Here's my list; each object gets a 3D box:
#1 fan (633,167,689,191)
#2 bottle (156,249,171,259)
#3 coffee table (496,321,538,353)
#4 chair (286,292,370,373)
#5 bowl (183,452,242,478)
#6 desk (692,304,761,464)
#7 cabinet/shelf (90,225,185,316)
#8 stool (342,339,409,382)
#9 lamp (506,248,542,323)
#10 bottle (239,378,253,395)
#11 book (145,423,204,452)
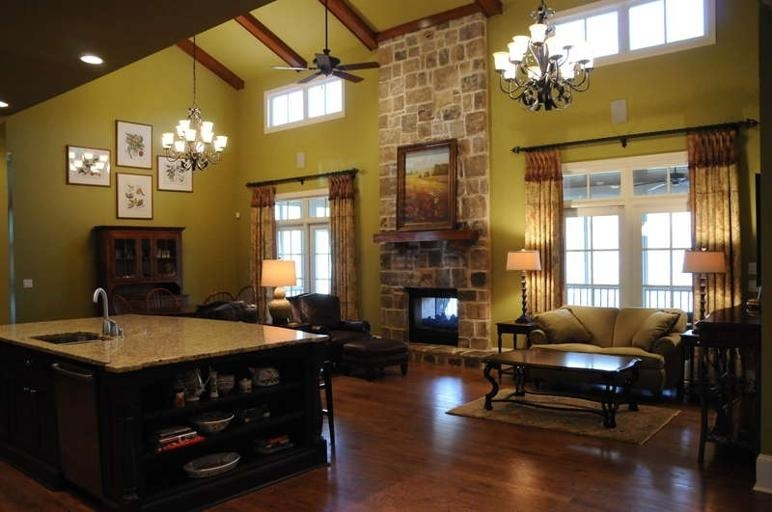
[{"bbox_3d":[4.015,-1.090,8.549,0.716,0.402,0.165,2,9,22],"label":"fan"},{"bbox_3d":[-4.161,-0.004,10.857,0.151,0.203,0.212,-2,-3,36],"label":"bottle"},{"bbox_3d":[1.986,1.207,8.924,0.566,0.517,0.565,-2,-6,24],"label":"coffee table"},{"bbox_3d":[-0.923,1.253,9.362,1.243,1.334,1.261,-1,0,24],"label":"chair"},{"bbox_3d":[-1.617,1.948,5.433,0.513,0.098,0.291,-4,8,-21],"label":"bowl"},{"bbox_3d":[3.418,1.326,5.821,0.627,1.300,1.605,2,1,34],"label":"desk"},{"bbox_3d":[-4.530,0.271,10.446,0.796,2.202,1.625,-4,-4,41],"label":"cabinet/shelf"},{"bbox_3d":[-0.186,1.479,8.830,0.633,0.428,0.822,-2,3,-39],"label":"stool"},{"bbox_3d":[2.134,0.445,9.025,0.501,1.076,0.732,1,9,14],"label":"lamp"},{"bbox_3d":[-1.357,1.257,5.635,0.181,0.173,0.102,1,-3,-37],"label":"bottle"},{"bbox_3d":[-1.878,1.640,5.218,0.456,0.167,0.170,-4,9,-23],"label":"book"}]
